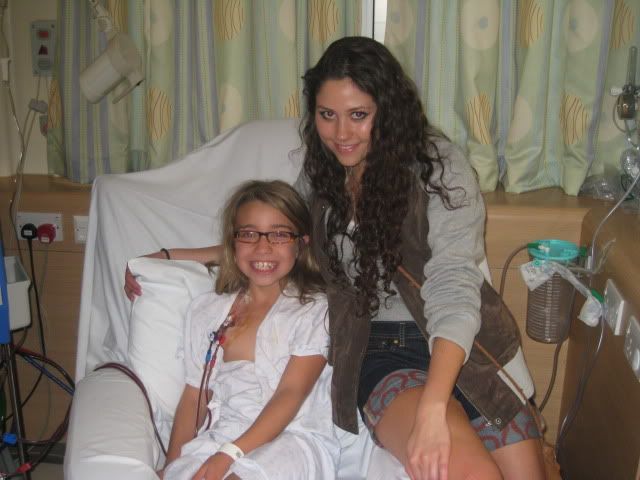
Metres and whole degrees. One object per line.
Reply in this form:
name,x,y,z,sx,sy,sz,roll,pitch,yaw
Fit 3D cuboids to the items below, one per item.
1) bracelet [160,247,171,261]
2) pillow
bracelet,-0.582,0.053,2.083,0.015,0.046,0.031,-22,-11,13
pillow,-0.556,0.338,2.046,0.385,0.504,0.119,4,2,14
